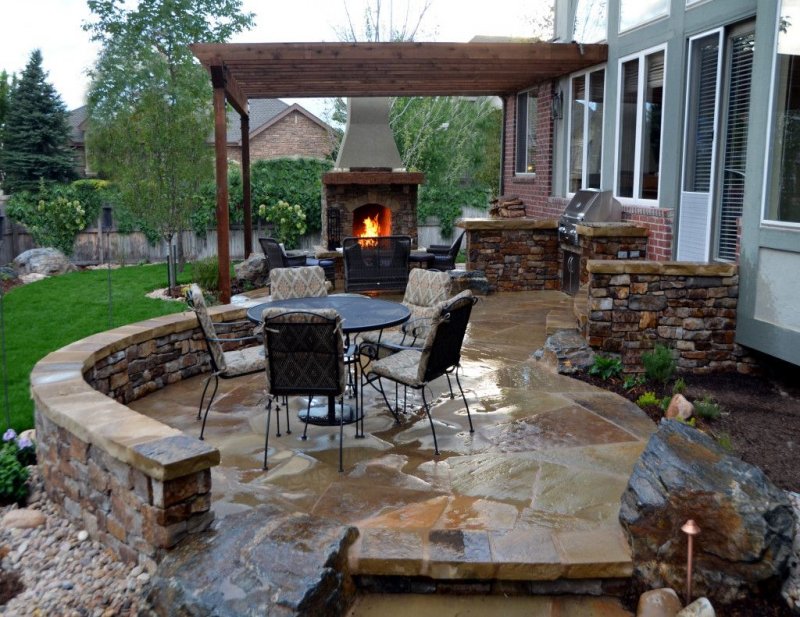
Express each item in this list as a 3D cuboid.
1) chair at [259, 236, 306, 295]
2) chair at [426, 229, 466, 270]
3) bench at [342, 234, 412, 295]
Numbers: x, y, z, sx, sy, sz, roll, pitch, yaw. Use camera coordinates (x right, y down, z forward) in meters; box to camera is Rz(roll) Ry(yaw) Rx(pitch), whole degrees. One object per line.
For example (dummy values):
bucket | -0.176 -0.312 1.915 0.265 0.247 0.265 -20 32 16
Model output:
chair | -1.968 -0.857 9.337 1.188 0.967 0.811 -7 13 -32
chair | 0.858 -1.130 10.206 0.890 0.916 0.702 2 14 9
bench | -0.374 -0.816 9.486 1.601 1.173 0.966 -1 15 -4
